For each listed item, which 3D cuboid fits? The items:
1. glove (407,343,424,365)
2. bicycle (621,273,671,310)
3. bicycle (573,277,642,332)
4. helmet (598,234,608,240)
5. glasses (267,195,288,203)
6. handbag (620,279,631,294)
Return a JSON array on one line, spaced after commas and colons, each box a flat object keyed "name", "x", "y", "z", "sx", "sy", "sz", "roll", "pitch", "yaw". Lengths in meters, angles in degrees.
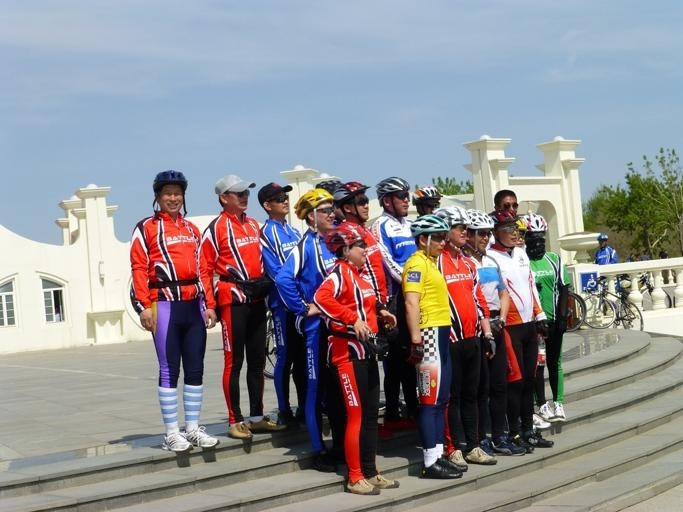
[{"name": "glove", "x": 0.879, "y": 1.131, "z": 13.168, "sx": 0.219, "sy": 0.173, "sz": 0.242, "roll": 2, "pitch": -4, "yaw": -6}, {"name": "bicycle", "x": 6.248, "y": 0.664, "z": 23.121, "sx": 1.409, "sy": 0.658, "sz": 0.621, "roll": -2, "pitch": -5, "yaw": -4}, {"name": "bicycle", "x": 5.413, "y": 0.993, "z": 22.406, "sx": 1.739, "sy": 0.884, "sz": 0.779, "roll": 5, "pitch": -7, "yaw": -37}, {"name": "helmet", "x": 5.887, "y": -0.441, "z": 25.374, "sx": 0.239, "sy": 0.136, "sz": 0.299, "roll": 3, "pitch": -6, "yaw": -5}, {"name": "glasses", "x": -0.804, "y": -0.716, "z": 14.170, "sx": 0.171, "sy": 0.044, "sz": 0.138, "roll": -10, "pitch": -1, "yaw": 33}, {"name": "handbag", "x": 5.743, "y": 0.600, "z": 22.702, "sx": 0.248, "sy": 0.241, "sz": 0.284, "roll": 1, "pitch": -14, "yaw": -4}]
